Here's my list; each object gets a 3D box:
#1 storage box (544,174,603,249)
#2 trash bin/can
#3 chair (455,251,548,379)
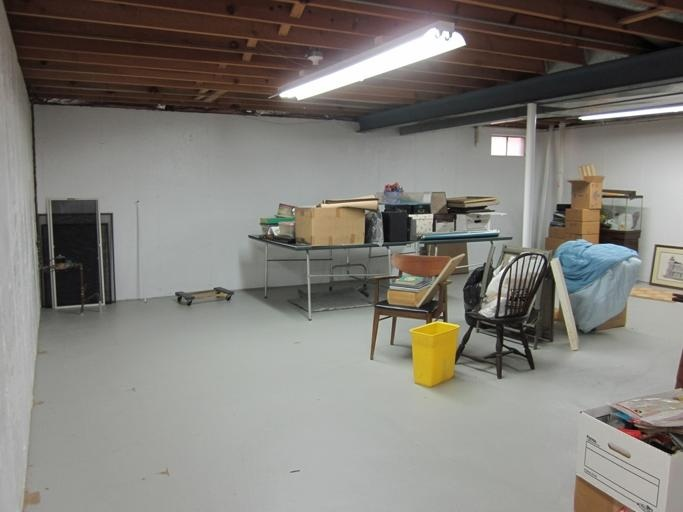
[{"bbox_3d":[3.923,-0.729,8.405,0.497,1.186,0.875,-3,7,-5],"label":"storage box"},{"bbox_3d":[0.843,0.882,4.588,0.315,0.490,0.469,4,9,38],"label":"trash bin/can"},{"bbox_3d":[1.611,0.493,5.001,0.773,1.127,1.097,1,8,22],"label":"chair"}]
